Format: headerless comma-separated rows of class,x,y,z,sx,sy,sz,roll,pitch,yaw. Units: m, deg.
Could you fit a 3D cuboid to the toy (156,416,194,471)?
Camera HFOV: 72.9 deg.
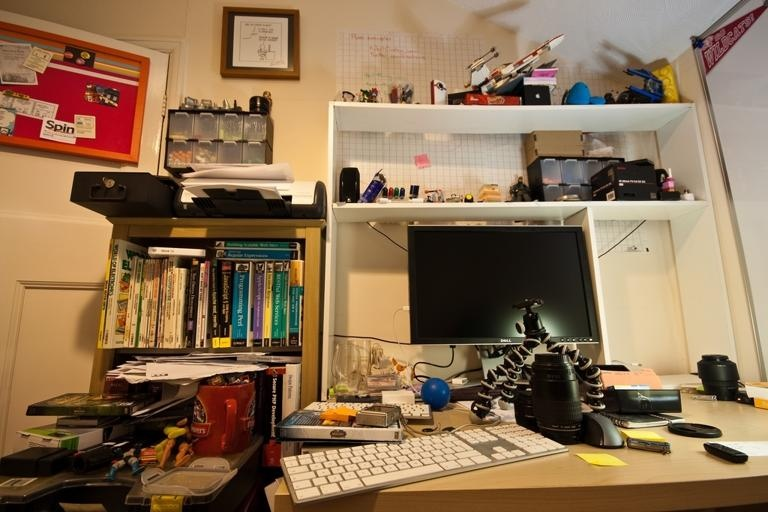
toy,-0.927,0.820,2.301,0.138,0.165,0.282,3,-7,-21

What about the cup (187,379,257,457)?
cup,-0.709,0.726,2.307,0.258,0.302,0.348,5,-7,-23

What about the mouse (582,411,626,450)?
mouse,0.885,0.723,2.160,0.143,0.117,0.226,0,-9,-20

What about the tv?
tv,0.605,0.164,2.674,0.741,0.439,0.076,0,-23,-2

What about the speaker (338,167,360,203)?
speaker,-0.190,-0.383,2.828,0.117,0.222,0.148,1,-8,-4

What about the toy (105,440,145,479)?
toy,-1.098,0.864,2.220,0.132,0.070,0.204,-10,10,-20

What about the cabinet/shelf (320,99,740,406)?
cabinet/shelf,0.792,0.012,2.771,1.771,1.503,0.418,1,-27,-4

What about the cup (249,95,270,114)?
cup,-0.686,-0.830,2.886,0.120,0.102,0.111,-1,2,0

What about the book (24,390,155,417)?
book,-1.336,0.675,2.352,0.317,0.030,0.212,2,-2,-2

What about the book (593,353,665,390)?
book,1.151,0.553,2.504,0.212,0.086,0.271,0,-16,6

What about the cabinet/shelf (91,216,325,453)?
cabinet/shelf,-0.831,0.395,2.467,1.178,1.032,0.369,1,-12,-4

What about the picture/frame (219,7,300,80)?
picture/frame,-0.743,-1.230,3.060,0.495,0.417,0.035,0,-2,-2

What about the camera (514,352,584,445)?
camera,0.718,0.596,2.253,0.223,0.334,0.356,-2,-11,-9

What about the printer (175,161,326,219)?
printer,-0.649,-0.314,2.529,0.714,0.255,0.239,1,-7,-11

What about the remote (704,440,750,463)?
remote,1.322,0.753,2.009,0.062,0.034,0.122,2,-4,-12

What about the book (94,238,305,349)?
book,-0.854,0.188,2.546,1.142,0.654,0.521,2,-9,-5
